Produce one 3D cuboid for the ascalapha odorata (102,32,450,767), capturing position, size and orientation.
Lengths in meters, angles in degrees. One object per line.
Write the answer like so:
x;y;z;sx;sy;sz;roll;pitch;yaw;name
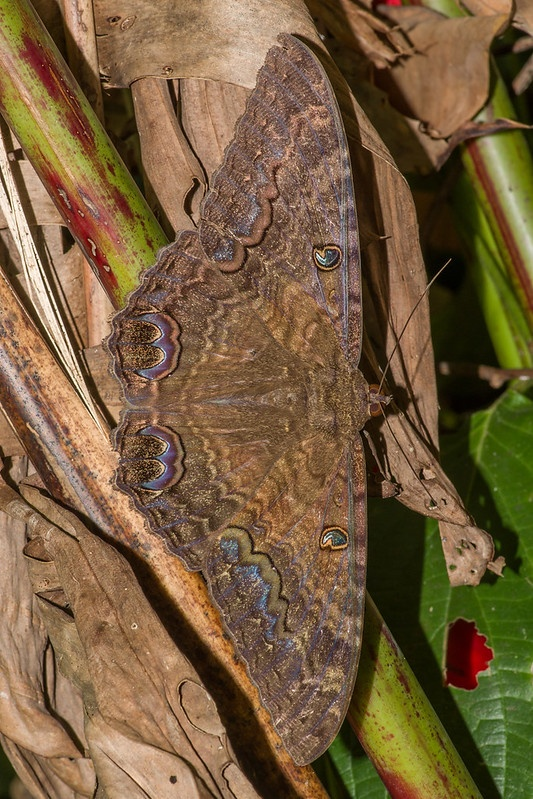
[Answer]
-0.029;0.002;2.071;0.584;0.418;1.382;-3;83;-3;ascalapha odorata
